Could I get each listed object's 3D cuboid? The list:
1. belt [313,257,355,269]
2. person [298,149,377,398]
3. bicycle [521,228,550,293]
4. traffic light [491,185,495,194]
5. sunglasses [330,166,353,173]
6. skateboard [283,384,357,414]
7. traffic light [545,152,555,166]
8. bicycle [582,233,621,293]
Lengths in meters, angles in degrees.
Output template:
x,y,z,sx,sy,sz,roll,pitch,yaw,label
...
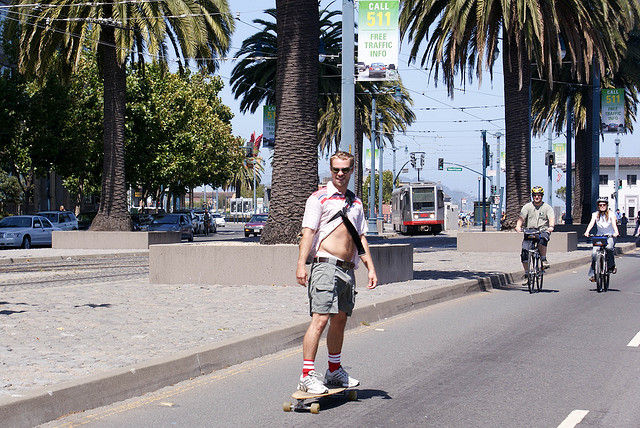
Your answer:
x,y,z,sx,sy,sz,roll,pitch,yaw,label
0.199,0.680,11.021,0.564,0.161,0.113,0,0,-3,belt
0.231,0.820,11.193,1.124,3.390,0.767,2,-1,-38,person
5.458,0.961,20.284,0.758,1.167,1.866,5,15,16,bicycle
18.100,-2.547,82.641,0.368,0.869,1.281,0,0,10,traffic light
0.303,-0.630,11.134,0.301,0.092,0.109,0,0,2,sunglasses
0.028,2.544,11.158,0.371,0.220,1.022,5,5,32,skateboard
15.084,-3.657,51.772,0.527,0.830,0.801,0,0,11,traffic light
7.225,1.226,20.129,0.513,1.477,1.057,0,0,19,bicycle
